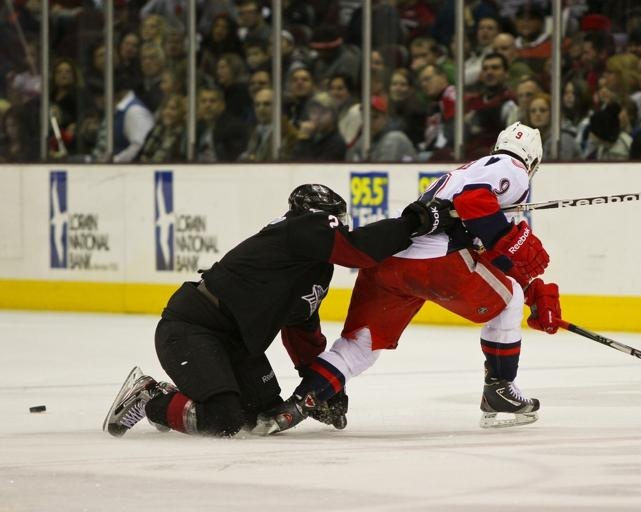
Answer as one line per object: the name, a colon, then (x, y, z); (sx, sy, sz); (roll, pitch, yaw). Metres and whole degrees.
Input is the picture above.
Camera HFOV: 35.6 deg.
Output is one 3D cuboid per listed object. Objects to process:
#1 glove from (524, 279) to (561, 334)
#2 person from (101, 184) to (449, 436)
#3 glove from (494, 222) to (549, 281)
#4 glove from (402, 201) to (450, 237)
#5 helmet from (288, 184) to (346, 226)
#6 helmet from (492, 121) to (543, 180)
glove: (1.212, 0.228, 5.459); (0.204, 0.086, 0.202); (-23, 11, 12)
person: (-0.275, 0.304, 5.272); (1.913, 1.259, 0.952); (-3, -6, 13)
glove: (1.040, -0.020, 5.318); (0.343, 0.250, 0.154); (42, -10, -24)
glove: (0.526, -0.192, 5.111); (0.163, 0.106, 0.253); (38, 39, 3)
helmet: (-0.013, -0.253, 5.184); (0.298, 0.232, 0.217); (-7, 9, -8)
helmet: (1.064, -0.594, 5.428); (0.262, 0.281, 0.294); (19, 33, 0)
